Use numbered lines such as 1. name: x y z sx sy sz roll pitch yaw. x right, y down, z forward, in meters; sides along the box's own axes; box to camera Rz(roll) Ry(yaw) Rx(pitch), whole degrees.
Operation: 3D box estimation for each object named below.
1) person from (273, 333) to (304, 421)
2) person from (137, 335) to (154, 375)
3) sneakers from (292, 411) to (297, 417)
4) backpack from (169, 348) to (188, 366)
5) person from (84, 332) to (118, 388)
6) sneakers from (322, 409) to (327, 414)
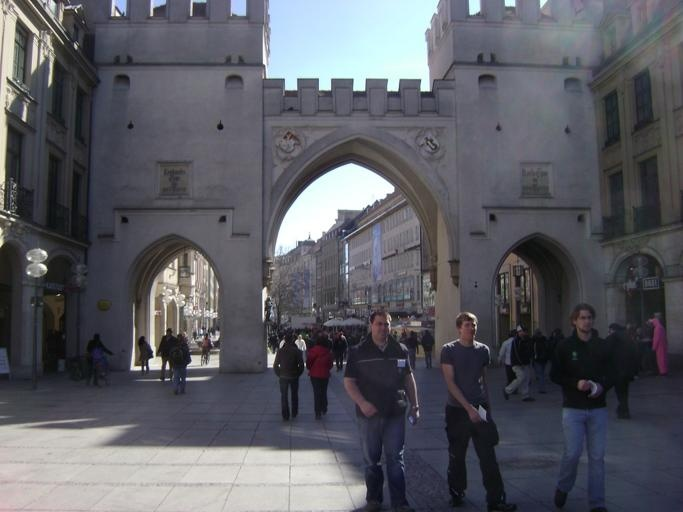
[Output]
1. person: -1.293 2.743 15.406 0.752 2.013 0.678 4 -10 -34
2. person: -7.681 3.809 25.738 0.457 1.446 1.643 1 -10 -17
3. sneakers: -1.109 3.662 15.353 0.130 0.149 0.076 0 -17 -7
4. backpack: -4.664 2.840 18.978 0.432 0.569 0.471 2 1 8
5. person: -7.974 3.255 21.414 0.719 1.743 0.565 8 14 3
6. sneakers: -0.423 3.594 15.463 0.135 0.152 0.077 1 -10 -14
